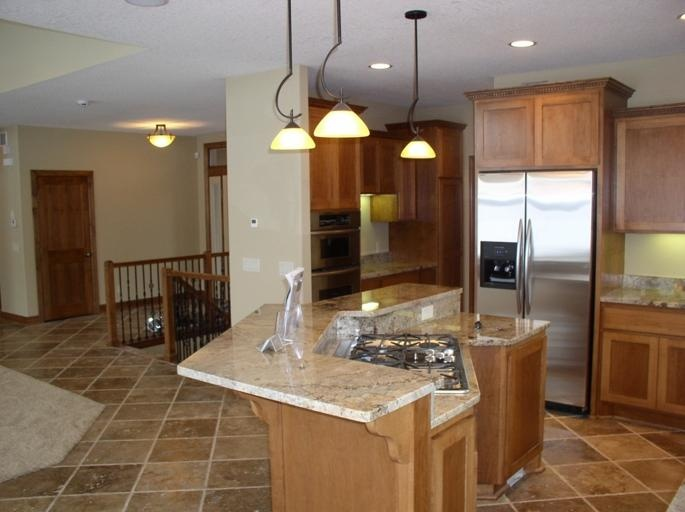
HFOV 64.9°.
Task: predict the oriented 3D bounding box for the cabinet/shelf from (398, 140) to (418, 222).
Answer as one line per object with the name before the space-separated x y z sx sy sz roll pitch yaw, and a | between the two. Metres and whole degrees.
cabinet/shelf | 0.949 -1.072 7.725 0.262 1.125 0.159 -3 -8 26

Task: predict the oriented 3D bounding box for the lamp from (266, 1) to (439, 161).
lamp | 0.059 -1.653 5.036 1.641 1.438 0.440 1 3 -35

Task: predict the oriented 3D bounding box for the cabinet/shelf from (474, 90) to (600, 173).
cabinet/shelf | 1.868 -1.270 5.374 1.292 0.745 0.404 -3 10 -2

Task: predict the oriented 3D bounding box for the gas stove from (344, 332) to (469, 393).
gas stove | 0.366 0.646 3.469 0.810 0.073 0.933 0 9 7

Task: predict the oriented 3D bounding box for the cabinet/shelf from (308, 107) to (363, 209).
cabinet/shelf | -0.252 -1.048 6.103 0.447 1.006 1.142 5 9 32
